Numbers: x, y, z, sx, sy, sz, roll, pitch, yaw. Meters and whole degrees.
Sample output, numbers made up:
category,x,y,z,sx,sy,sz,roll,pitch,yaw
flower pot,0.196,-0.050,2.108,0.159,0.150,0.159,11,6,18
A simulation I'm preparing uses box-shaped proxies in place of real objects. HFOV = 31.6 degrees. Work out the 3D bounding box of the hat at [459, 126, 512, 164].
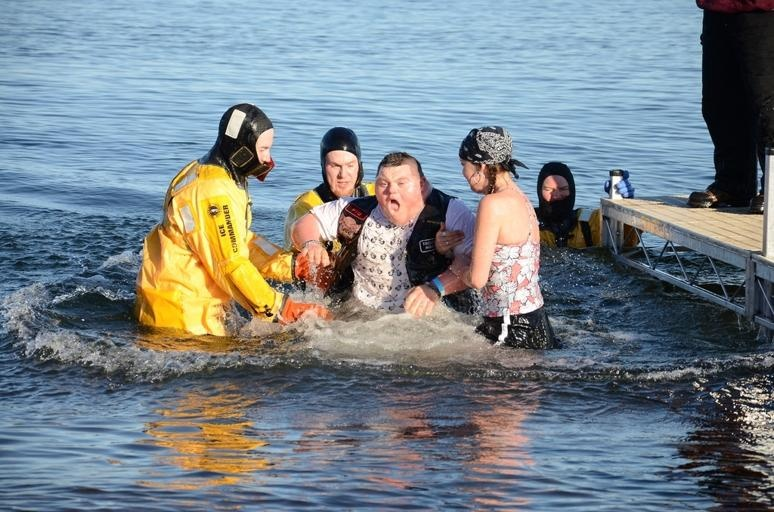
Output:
category,x,y,z,sx,sy,sz,roll,pitch,yaw
hat,1.107,-1.205,14.862,0.571,0.254,0.483,5,16,14

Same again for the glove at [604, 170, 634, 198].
category,x,y,z,sx,sy,sz,roll,pitch,yaw
glove,3.163,-0.960,18.449,0.549,0.470,0.313,-1,5,3

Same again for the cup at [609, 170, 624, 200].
category,x,y,z,sx,sy,sz,roll,pitch,yaw
cup,3.062,-0.964,18.358,0.173,0.383,0.277,-1,15,11
